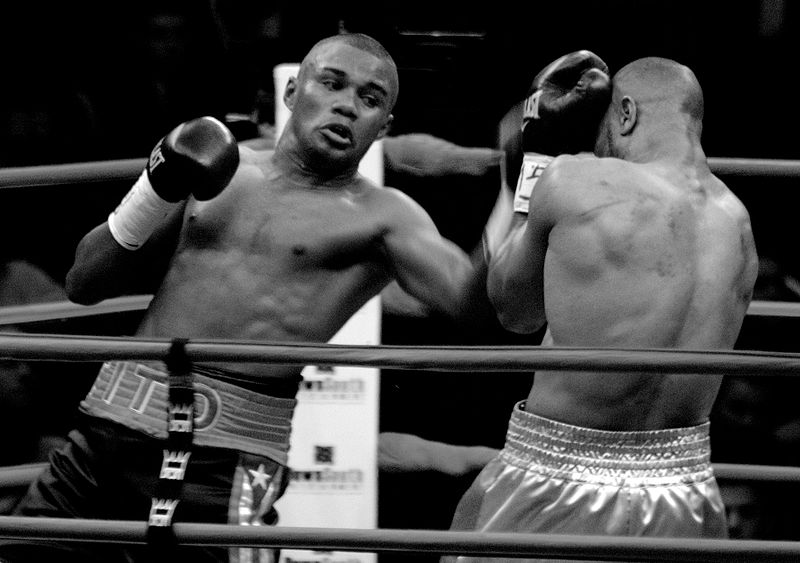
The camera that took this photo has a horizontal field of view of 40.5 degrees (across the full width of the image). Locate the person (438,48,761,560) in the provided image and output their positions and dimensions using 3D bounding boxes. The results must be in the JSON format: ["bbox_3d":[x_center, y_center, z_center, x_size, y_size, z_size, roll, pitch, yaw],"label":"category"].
[{"bbox_3d":[0.614,0.135,3.191,0.803,1.381,1.028,7,27,17],"label":"person"}]
